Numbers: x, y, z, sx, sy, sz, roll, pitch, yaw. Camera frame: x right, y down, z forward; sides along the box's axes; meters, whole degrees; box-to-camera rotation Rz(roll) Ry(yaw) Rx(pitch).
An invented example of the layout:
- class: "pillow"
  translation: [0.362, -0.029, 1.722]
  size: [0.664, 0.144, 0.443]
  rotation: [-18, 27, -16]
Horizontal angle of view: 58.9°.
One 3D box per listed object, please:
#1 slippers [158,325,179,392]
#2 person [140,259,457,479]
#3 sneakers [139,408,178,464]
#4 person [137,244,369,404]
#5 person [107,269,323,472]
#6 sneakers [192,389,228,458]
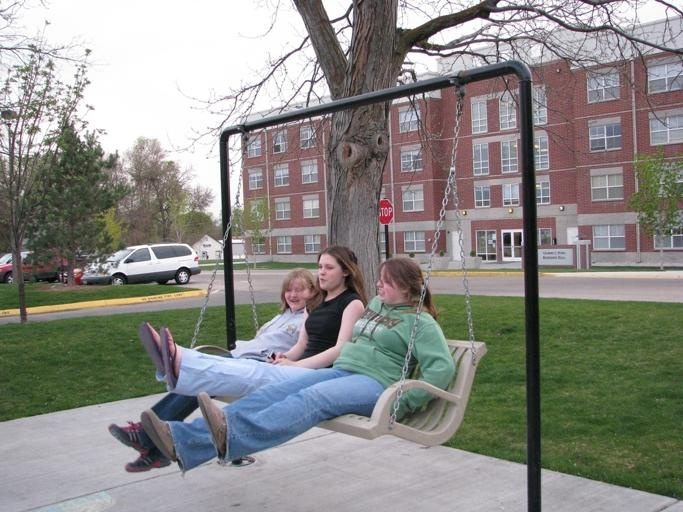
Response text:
- class: "slippers"
  translation: [-1.292, 0.788, 4.613]
  size: [0.112, 0.482, 0.152]
  rotation: [-10, 11, -36]
- class: "person"
  translation: [-0.180, 0.793, 4.978]
  size: [2.358, 1.379, 0.892]
  rotation: [-4, 7, -17]
- class: "sneakers"
  translation: [-1.350, 1.316, 4.448]
  size: [0.260, 0.422, 0.140]
  rotation: [-2, 7, 0]
- class: "person"
  translation: [-0.678, 0.616, 5.419]
  size: [1.978, 1.244, 0.814]
  rotation: [-2, 0, -37]
- class: "person"
  translation: [-0.970, 0.956, 5.378]
  size: [0.654, 1.498, 2.070]
  rotation: [-8, -5, 41]
- class: "sneakers"
  translation: [-0.943, 1.210, 4.372]
  size: [0.179, 0.516, 0.166]
  rotation: [-11, 9, -23]
